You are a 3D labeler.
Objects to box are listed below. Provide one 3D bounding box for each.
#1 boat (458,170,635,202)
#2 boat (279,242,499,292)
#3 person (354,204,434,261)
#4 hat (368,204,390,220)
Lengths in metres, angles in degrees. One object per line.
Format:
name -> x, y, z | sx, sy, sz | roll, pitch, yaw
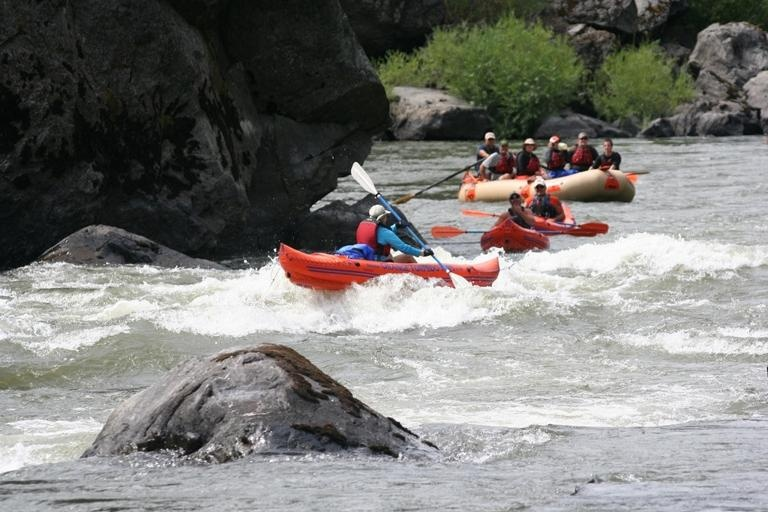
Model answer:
boat -> 4.094, -1.688, 37.313 | 3.164, 0.536, 1.400 | 0, 0, 28
boat -> 0.389, 0.265, 29.411 | 4.758, 0.847, 1.264 | 4, -5, -16
person -> 0.159, -0.449, 30.820 | 0.839, 1.139, 0.753 | -34, 45, -11
hat -> -0.055, -0.859, 29.436 | 0.290, 0.168, 0.360 | 4, 15, 35
